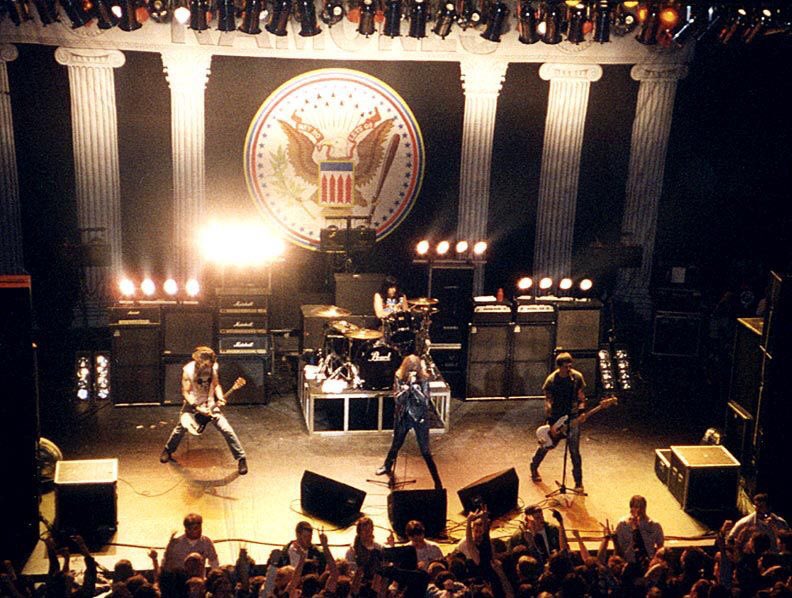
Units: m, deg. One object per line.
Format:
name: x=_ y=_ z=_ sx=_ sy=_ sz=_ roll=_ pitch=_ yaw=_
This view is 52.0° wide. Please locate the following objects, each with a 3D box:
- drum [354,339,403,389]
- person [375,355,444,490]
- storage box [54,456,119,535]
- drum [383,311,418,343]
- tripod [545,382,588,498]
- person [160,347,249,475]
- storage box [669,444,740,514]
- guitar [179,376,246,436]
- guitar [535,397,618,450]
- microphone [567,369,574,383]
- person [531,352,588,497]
drum: x=-0.318 y=1.128 z=13.995 sx=0.549 sy=0.656 sz=0.755 roll=-3 pitch=-79 yaw=-21
person: x=0.215 y=1.812 z=12.354 sx=0.860 sy=0.909 sz=2.090 roll=0 pitch=-89 yaw=-14
storage box: x=-4.220 y=2.680 z=11.066 sx=0.840 sy=0.873 sz=0.701 roll=2 pitch=-62 yaw=-11
drum: x=0.054 y=0.507 z=14.482 sx=0.511 sy=0.337 sz=0.473 roll=-4 pitch=-61 yaw=-8
tripod: x=2.531 y=1.851 z=12.418 sx=0.639 sy=0.564 sz=1.763 roll=-1 pitch=-79 yaw=-1
person: x=-3.008 y=1.714 z=12.789 sx=1.394 sy=0.702 sz=1.918 roll=3 pitch=-78 yaw=9
storage box: x=4.559 y=2.622 z=12.166 sx=0.944 sy=0.674 sz=0.856 roll=-2 pitch=-77 yaw=5
guitar: x=-3.000 y=1.768 z=13.220 sx=1.121 sy=0.161 sz=0.429 roll=-43 pitch=-105 yaw=9
guitar: x=2.797 y=1.891 z=12.122 sx=1.035 sy=1.134 sz=1.019 roll=-5 pitch=-81 yaw=-22
microphone: x=2.603 y=1.174 z=12.183 sx=0.131 sy=0.044 sz=0.183 roll=-2 pitch=-97 yaw=-3
person: x=2.408 y=1.857 z=12.382 sx=0.960 sy=0.683 sz=2.105 roll=5 pitch=-76 yaw=30
